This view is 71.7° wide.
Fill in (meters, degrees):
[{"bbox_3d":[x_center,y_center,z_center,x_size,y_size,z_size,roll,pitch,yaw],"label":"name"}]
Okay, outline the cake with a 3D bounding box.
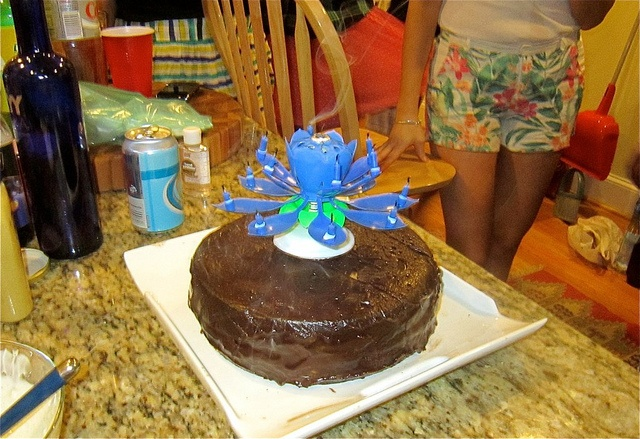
[{"bbox_3d":[-0.014,0.120,0.923,0.480,0.122,0.506,-3,24,-11],"label":"cake"}]
